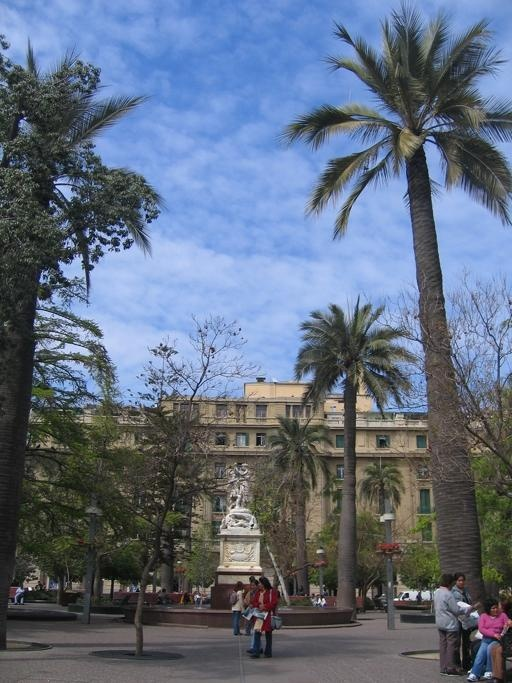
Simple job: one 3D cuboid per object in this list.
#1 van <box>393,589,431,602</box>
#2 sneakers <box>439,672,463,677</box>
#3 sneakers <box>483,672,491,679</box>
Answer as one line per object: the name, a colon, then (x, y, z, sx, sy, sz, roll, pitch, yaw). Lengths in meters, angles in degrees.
van: (11.606, 18.676, 59.568, 2.163, 0.897, 5.639, 0, -19, 8)
sneakers: (2.791, 4.752, 11.614, 0.248, 0.094, 0.085, 0, -23, 2)
sneakers: (3.046, 4.430, 10.738, 0.111, 0.108, 0.370, -1, -19, 13)
